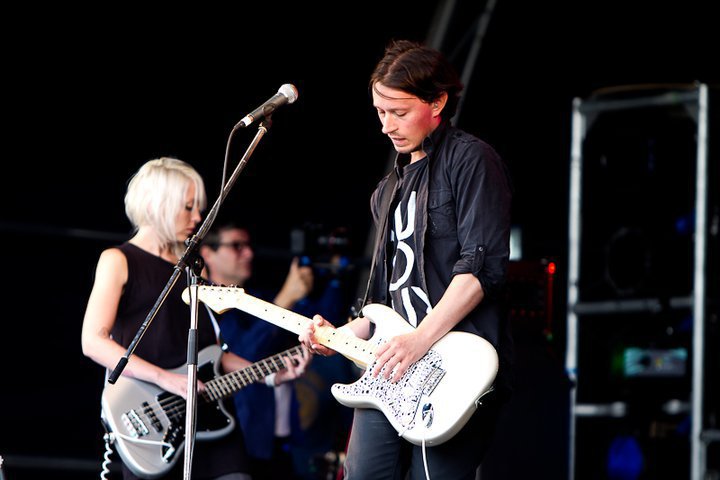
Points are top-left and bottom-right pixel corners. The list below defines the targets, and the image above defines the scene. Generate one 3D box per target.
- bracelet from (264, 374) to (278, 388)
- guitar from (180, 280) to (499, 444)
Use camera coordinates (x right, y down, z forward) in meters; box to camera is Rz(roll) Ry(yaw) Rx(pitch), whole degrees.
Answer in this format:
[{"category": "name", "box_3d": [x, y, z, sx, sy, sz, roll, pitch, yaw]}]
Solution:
[{"category": "bracelet", "box_3d": [-0.550, 0.871, 4.653, 0.036, 0.109, 0.147, 9, -11, -39]}, {"category": "guitar", "box_3d": [0.056, 0.627, 4.118, 0.703, 0.274, 1.888, -33, 24, -23]}]
